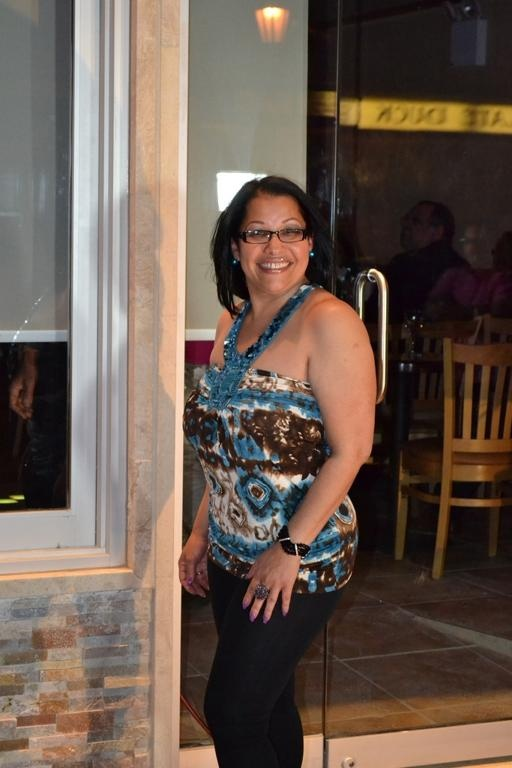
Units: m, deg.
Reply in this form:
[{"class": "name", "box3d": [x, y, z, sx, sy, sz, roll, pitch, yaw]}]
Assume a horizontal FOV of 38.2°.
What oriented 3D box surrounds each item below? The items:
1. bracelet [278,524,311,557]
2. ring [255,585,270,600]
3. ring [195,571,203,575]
[{"class": "bracelet", "box3d": [0.056, 0.257, 1.225, 0.044, 0.021, 0.056, 9, 35, -43]}, {"class": "ring", "box3d": [0.010, 0.346, 1.223, 0.024, 0.022, 0.008, -8, -20, 13]}, {"class": "ring", "box3d": [-0.122, 0.414, 1.614, 0.010, 0.008, 0.003, 4, -7, 6]}]
